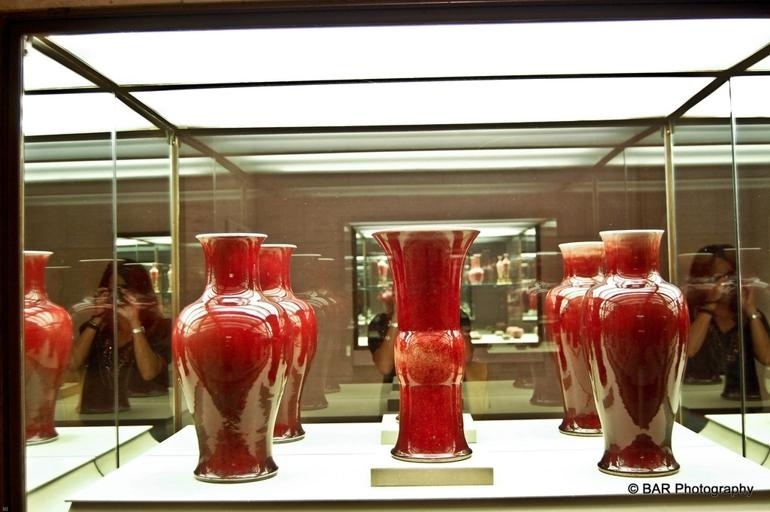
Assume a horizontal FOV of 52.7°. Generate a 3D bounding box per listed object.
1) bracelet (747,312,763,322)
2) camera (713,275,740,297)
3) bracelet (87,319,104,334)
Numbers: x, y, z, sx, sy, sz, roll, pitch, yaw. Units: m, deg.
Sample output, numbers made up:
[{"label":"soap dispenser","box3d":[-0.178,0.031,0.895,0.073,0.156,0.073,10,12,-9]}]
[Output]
[{"label":"bracelet","box3d":[1.750,0.287,3.672,0.044,0.028,0.040,-6,-4,8]},{"label":"camera","box3d":[1.646,0.146,3.750,0.076,0.102,0.037,-8,-4,23]},{"label":"bracelet","box3d":[-1.378,0.332,3.691,0.041,0.057,0.063,13,16,43]}]
